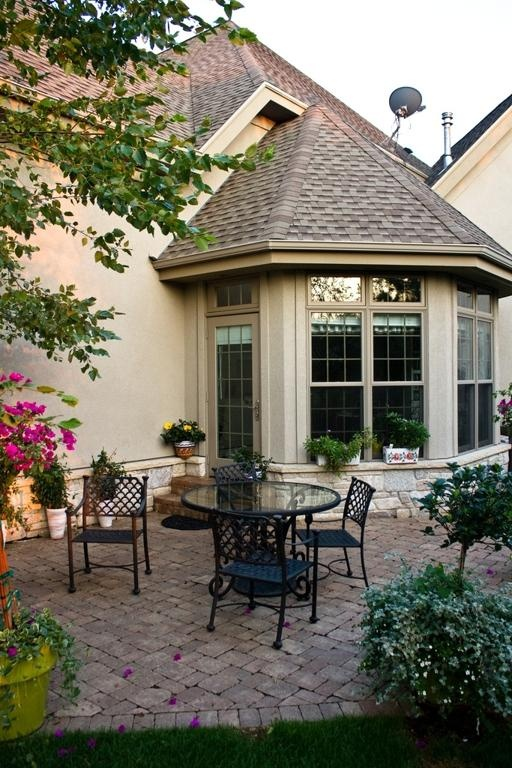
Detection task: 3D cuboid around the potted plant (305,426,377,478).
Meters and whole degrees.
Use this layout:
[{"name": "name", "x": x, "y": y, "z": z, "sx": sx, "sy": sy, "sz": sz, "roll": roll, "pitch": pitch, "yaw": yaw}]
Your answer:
[{"name": "potted plant", "x": 1.029, "y": 0.836, "z": 7.157, "sx": 0.644, "sy": 0.462, "sz": 0.524, "roll": 3, "pitch": 5, "yaw": -13}]

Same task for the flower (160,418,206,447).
[{"name": "flower", "x": -1.053, "y": 0.704, "z": 8.310, "sx": 0.412, "sy": 0.308, "sz": 0.419, "roll": 1, "pitch": 2, "yaw": -5}]

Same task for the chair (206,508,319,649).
[{"name": "chair", "x": 0.055, "y": 1.296, "z": 4.270, "sx": 0.609, "sy": 1.050, "sz": 0.675, "roll": 2, "pitch": 7, "yaw": 25}]

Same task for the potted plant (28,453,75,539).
[{"name": "potted plant", "x": -2.309, "y": 1.305, "z": 6.603, "sx": 0.384, "sy": 0.827, "sz": 0.346, "roll": -12, "pitch": -9, "yaw": 23}]

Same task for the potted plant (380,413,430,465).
[{"name": "potted plant", "x": 1.993, "y": 0.781, "z": 7.549, "sx": 0.385, "sy": 0.528, "sz": 0.519, "roll": 14, "pitch": -14, "yaw": -2}]

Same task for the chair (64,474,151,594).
[{"name": "chair", "x": -1.307, "y": 1.296, "z": 5.126, "sx": 0.598, "sy": 0.945, "sz": 0.597, "roll": 1, "pitch": -3, "yaw": -4}]

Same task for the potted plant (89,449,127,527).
[{"name": "potted plant", "x": -1.666, "y": 1.182, "z": 6.498, "sx": 0.392, "sy": 0.759, "sz": 0.474, "roll": 3, "pitch": -2, "yaw": 9}]

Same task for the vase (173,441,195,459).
[{"name": "vase", "x": -1.012, "y": 0.940, "z": 8.284, "sx": 0.252, "sy": 0.207, "sz": 0.254, "roll": 1, "pitch": -7, "yaw": -18}]

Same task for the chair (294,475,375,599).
[{"name": "chair", "x": 0.673, "y": 1.264, "z": 4.965, "sx": 0.510, "sy": 0.838, "sz": 0.488, "roll": -1, "pitch": -2, "yaw": -16}]
